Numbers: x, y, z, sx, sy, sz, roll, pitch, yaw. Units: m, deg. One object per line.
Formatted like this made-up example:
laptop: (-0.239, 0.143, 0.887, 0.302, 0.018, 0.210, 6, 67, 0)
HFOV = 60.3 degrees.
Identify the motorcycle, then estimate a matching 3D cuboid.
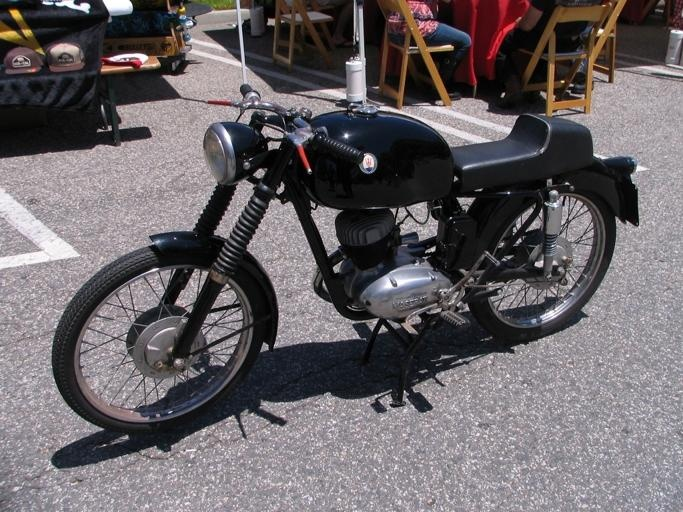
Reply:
motorcycle: (0.061, -0.273, 3.485, 4.119, 1.494, 1.378, -11, 29, -17)

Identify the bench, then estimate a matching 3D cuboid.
bench: (-2.785, -1.820, 6.274, 1.538, 0.736, 1.263, -2, 35, -6)
